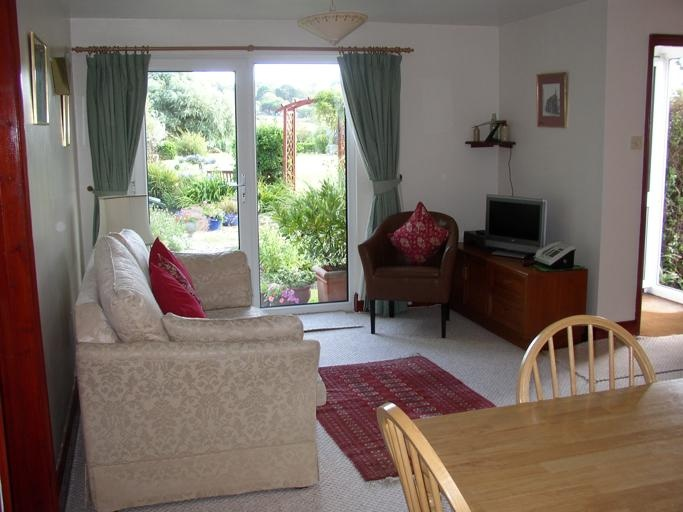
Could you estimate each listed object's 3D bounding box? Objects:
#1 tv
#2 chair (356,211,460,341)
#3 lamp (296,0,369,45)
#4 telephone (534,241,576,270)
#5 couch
[{"bbox_3d":[1.629,-0.259,4.884,0.182,0.553,0.559,-5,6,-43],"label":"tv"},{"bbox_3d":[0.636,0.173,5.015,0.890,1.044,0.690,1,12,12],"label":"chair"},{"bbox_3d":[-0.095,-1.746,3.889,0.366,0.237,0.470,-10,15,-35],"label":"lamp"},{"bbox_3d":[1.823,-0.008,4.497,0.239,0.165,0.251,-7,13,-14],"label":"telephone"},{"bbox_3d":[-0.742,0.202,2.820,1.079,1.013,1.842,-3,12,-16],"label":"couch"}]
